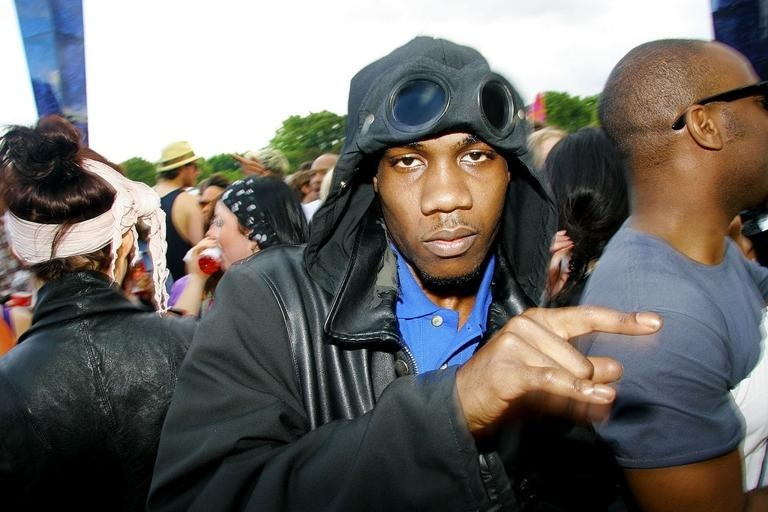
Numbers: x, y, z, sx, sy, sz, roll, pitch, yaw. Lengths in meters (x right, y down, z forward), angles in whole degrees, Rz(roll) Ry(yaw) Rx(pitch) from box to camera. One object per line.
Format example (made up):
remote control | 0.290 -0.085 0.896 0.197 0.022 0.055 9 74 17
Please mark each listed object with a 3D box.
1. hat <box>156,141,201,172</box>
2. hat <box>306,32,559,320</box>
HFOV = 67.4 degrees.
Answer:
hat | -2.541 -1.297 7.076 0.552 0.204 0.504 -34 39 -29
hat | 0.192 -0.299 2.323 1.008 1.067 0.493 -4 3 4
